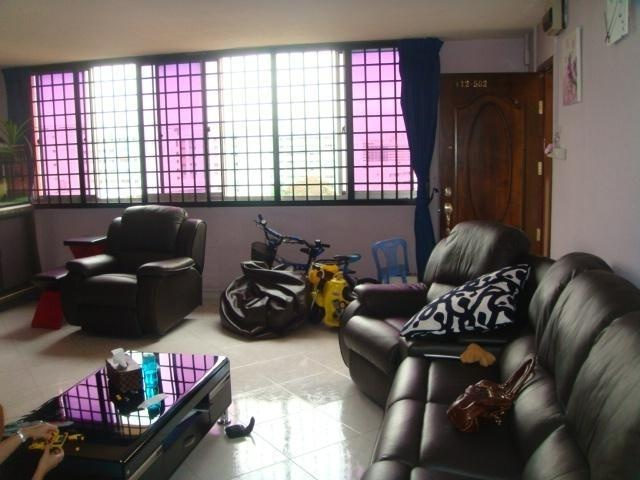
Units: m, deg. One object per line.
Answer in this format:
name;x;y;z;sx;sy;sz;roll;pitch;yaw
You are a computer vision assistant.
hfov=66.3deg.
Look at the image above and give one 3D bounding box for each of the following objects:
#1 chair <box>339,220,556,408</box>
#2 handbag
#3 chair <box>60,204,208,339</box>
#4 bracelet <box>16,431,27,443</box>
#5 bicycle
chair;0.737;0.520;3.166;0.945;1.273;1.269;1;3;-15
handbag;0.717;0.730;2.174;0.216;0.079;0.176;-27;31;-14
chair;-1.657;0.275;4.825;1.174;1.241;1.180;1;5;20
bracelet;-1.332;0.876;2.192;0.030;0.045;0.094;-9;15;-32
bicycle;-0.085;0.140;5.041;1.112;0.759;0.712;7;4;9
